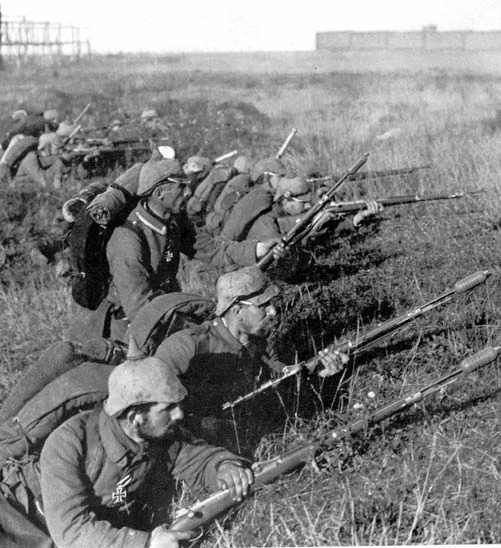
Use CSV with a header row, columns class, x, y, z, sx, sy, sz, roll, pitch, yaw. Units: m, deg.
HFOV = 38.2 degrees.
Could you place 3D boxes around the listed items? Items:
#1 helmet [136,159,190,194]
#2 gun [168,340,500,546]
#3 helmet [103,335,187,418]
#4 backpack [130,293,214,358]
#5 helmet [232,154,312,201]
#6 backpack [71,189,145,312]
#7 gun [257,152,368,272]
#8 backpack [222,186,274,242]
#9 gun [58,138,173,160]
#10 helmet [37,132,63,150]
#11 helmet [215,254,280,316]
class,x,y,z,sx,sy,sz,roll,pitch,yaw
helmet,-0.626,-0.663,4.911,0.251,0.193,0.220,-14,9,-1
gun,0.545,1.219,4.988,2.152,0.464,0.176,-36,29,-19
helmet,-0.549,0.574,3.812,0.337,0.370,0.341,-8,22,-12
backpack,-0.523,0.270,4.652,0.440,0.197,0.359,-34,29,-14
helmet,0.193,-0.846,5.993,0.338,0.249,0.313,15,29,16
backpack,-1.018,-0.153,4.843,0.188,0.770,0.469,11,4,-3
gun,0.517,-0.516,5.918,0.179,1.112,0.074,36,7,-12
backpack,-0.041,-0.509,6.062,0.155,0.504,0.338,27,10,-42
gun,-1.101,-0.969,5.666,0.945,0.183,0.211,-1,-29,-6
helmet,-1.558,-1.023,5.583,0.154,0.134,0.090,-7,-3,-28
helmet,-0.038,0.091,4.501,0.293,0.210,0.259,-18,20,15
